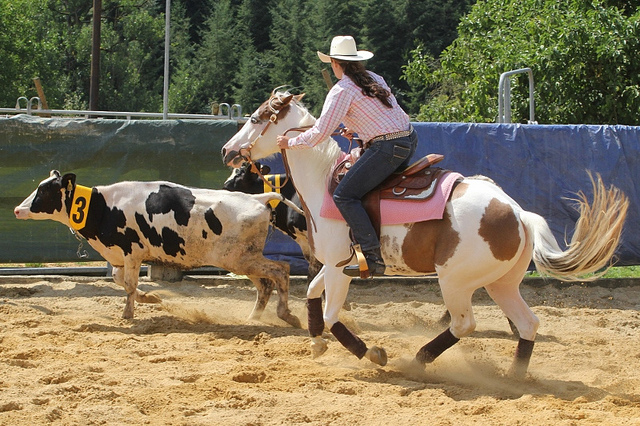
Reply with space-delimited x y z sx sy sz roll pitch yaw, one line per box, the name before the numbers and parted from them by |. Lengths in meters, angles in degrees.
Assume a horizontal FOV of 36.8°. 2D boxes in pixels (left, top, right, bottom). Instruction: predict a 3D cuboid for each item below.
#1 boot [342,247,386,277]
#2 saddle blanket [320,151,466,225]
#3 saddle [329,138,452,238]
boot | 0.659 0.641 13.238 0.516 0.367 0.187 1 -10 -13
saddle blanket | 1.042 -0.328 13.400 1.969 0.921 0.551 4 7 14
saddle | 0.690 -0.398 13.255 2.206 1.586 0.868 -2 -8 15
